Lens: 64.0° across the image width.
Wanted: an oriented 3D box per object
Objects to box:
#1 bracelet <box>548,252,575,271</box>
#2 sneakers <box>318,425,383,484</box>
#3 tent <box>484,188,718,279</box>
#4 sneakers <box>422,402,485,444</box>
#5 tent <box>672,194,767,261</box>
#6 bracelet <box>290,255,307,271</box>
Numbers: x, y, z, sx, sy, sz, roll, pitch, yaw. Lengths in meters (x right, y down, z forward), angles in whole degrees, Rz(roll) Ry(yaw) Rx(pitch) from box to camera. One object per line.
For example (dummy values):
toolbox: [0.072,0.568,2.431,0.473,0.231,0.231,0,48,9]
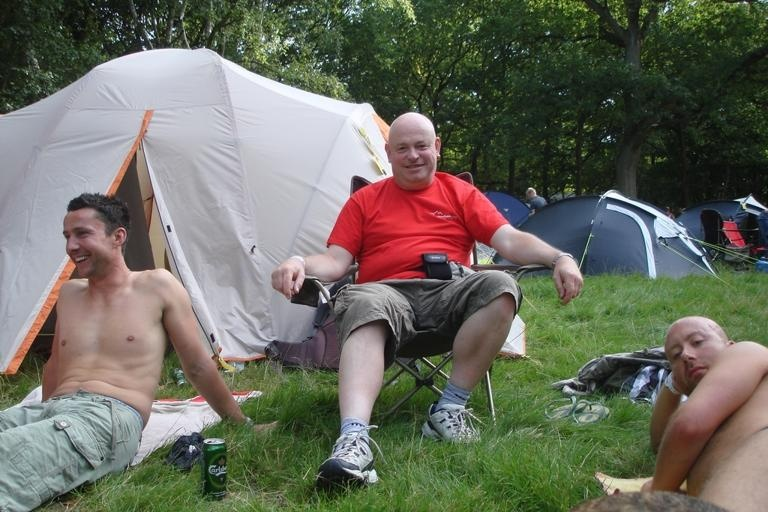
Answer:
bracelet: [1.105,0.026,3.806,0.141,0.144,0.090,7,-4,-23]
sneakers: [-0.182,1.087,3.368,0.254,0.302,0.632,-1,-16,16]
tent: [3.289,-0.446,9.903,2.238,0.766,2.323,24,-8,3]
sneakers: [0.404,1.058,3.733,0.177,0.204,0.442,24,-16,-26]
tent: [7.738,-0.663,13.728,2.282,1.174,2.247,4,-2,-34]
bracelet: [-0.548,0.048,3.889,0.098,0.101,0.103,-2,8,8]
